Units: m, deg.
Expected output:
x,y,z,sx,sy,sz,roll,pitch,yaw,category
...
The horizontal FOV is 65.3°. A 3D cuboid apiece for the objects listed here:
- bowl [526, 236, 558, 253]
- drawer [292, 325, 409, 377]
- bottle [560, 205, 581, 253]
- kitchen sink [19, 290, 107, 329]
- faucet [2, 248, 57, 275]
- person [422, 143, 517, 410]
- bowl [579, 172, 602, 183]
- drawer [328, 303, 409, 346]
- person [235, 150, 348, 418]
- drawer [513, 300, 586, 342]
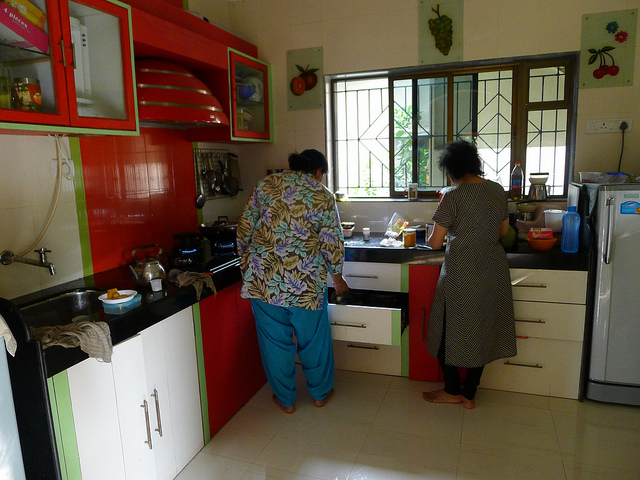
x,y,z,sx,sy,sz,roll,pitch,yaw,category
1.448,0.023,3.287,0.188,0.091,0.138,6,14,34,bowl
0.459,0.940,3.851,0.629,0.303,0.364,-4,-10,43,drawer
1.651,-0.076,3.281,0.116,0.277,0.296,4,13,27,bottle
-1.338,0.357,2.568,0.415,0.114,0.445,1,9,18,kitchen sink
-1.509,0.116,2.569,0.224,0.124,0.401,-10,14,-31,faucet
0.947,0.266,3.128,0.591,1.699,0.320,0,12,13,person
1.848,-0.426,3.412,0.119,0.069,0.172,4,14,29,bowl
0.317,0.536,3.497,0.602,0.244,0.488,3,4,26,drawer
-0.186,0.269,3.286,0.654,1.700,0.583,4,19,9,person
1.519,0.527,3.267,0.359,0.190,0.272,1,0,27,drawer
